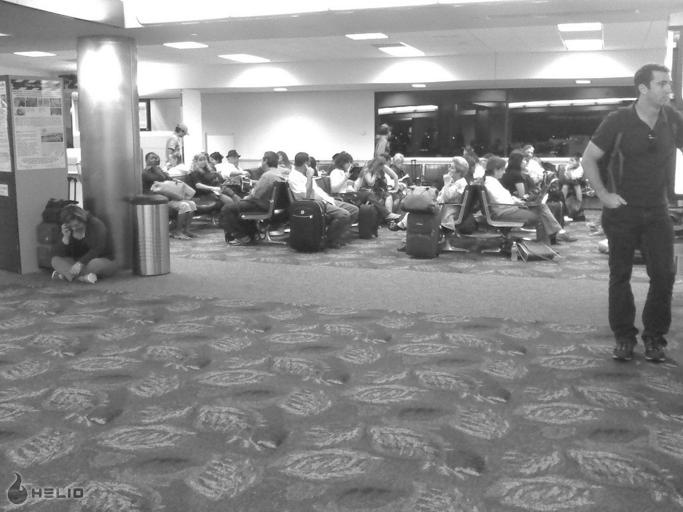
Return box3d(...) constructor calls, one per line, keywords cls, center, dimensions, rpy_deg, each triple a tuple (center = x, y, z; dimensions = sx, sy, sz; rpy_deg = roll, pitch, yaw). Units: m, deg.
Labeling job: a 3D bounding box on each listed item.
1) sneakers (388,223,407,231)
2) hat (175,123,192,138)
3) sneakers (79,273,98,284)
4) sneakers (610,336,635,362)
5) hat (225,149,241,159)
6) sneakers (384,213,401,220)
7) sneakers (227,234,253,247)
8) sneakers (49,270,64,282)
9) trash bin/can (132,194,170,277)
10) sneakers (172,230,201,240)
box3d(cls="sneakers", center=(1.110, -0.573, 11.358), dimensions=(0.392, 0.157, 0.136), rpy_deg=(5, 12, 21))
box3d(cls="hat", center=(-3.449, -2.709, 12.244), dimensions=(0.243, 0.279, 0.511), rpy_deg=(-2, 7, -20))
box3d(cls="sneakers", center=(-2.964, 0.257, 6.644), dimensions=(0.203, 0.106, 0.236), rpy_deg=(-2, 8, -24))
box3d(cls="sneakers", center=(1.975, 0.651, 3.981), dimensions=(0.090, 0.091, 0.249), rpy_deg=(6, 15, 25))
box3d(cls="hat", center=(-2.520, -2.326, 13.103), dimensions=(0.358, 0.163, 0.414), rpy_deg=(-3, 4, -3))
box3d(cls="sneakers", center=(1.099, -0.830, 11.883), dimensions=(0.391, 0.152, 0.124), rpy_deg=(-4, 27, 15))
box3d(cls="sneakers", center=(-1.751, -0.258, 9.707), dimensions=(0.451, 0.180, 0.174), rpy_deg=(3, 6, 16))
box3d(cls="sneakers", center=(-3.405, 0.230, 6.796), dimensions=(0.261, 0.100, 0.089), rpy_deg=(6, 9, 39))
box3d(cls="trash bin/can", center=(-2.380, -0.262, 7.101), dimensions=(0.428, 0.998, 0.277), rpy_deg=(-2, 7, -20))
box3d(cls="sneakers", center=(-2.749, -0.380, 10.369), dimensions=(0.597, 0.221, 0.191), rpy_deg=(-1, 5, 3))
